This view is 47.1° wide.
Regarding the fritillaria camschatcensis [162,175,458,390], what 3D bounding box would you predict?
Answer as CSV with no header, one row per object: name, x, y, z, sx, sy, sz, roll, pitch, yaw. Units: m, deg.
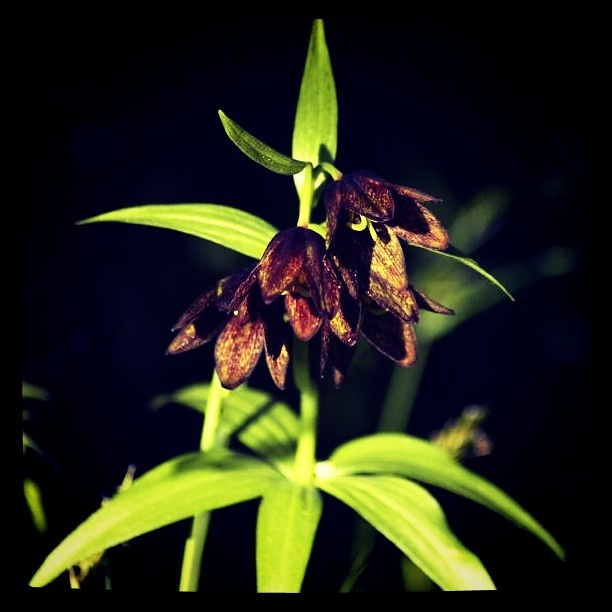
fritillaria camschatcensis,0.014,-0.010,0.936,0.302,0.306,0.201,19,49,-32
